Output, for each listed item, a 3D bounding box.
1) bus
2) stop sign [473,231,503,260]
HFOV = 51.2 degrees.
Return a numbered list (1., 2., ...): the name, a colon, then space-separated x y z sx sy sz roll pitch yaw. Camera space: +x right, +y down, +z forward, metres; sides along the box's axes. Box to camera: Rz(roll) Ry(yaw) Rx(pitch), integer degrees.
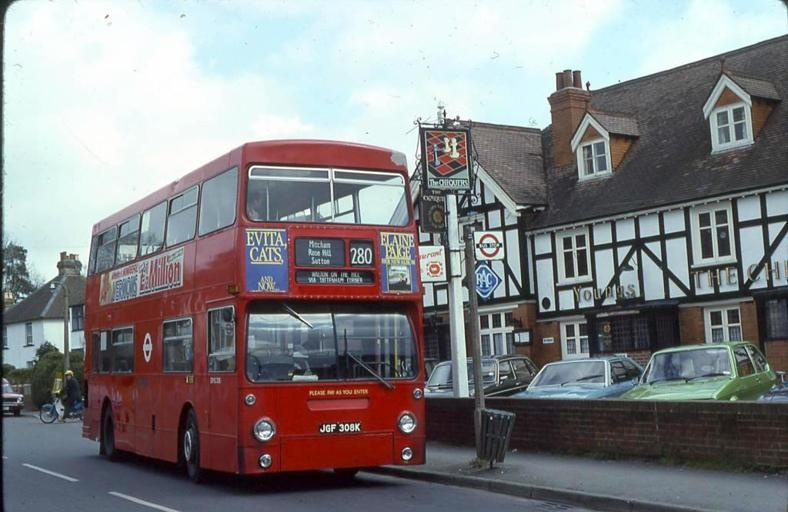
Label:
1. bus: -2.479 1.320 16.328 2.852 4.056 7.392 2 -5 -31
2. stop sign: 2.257 -0.274 19.852 0.703 0.662 0.112 1 -8 -11
